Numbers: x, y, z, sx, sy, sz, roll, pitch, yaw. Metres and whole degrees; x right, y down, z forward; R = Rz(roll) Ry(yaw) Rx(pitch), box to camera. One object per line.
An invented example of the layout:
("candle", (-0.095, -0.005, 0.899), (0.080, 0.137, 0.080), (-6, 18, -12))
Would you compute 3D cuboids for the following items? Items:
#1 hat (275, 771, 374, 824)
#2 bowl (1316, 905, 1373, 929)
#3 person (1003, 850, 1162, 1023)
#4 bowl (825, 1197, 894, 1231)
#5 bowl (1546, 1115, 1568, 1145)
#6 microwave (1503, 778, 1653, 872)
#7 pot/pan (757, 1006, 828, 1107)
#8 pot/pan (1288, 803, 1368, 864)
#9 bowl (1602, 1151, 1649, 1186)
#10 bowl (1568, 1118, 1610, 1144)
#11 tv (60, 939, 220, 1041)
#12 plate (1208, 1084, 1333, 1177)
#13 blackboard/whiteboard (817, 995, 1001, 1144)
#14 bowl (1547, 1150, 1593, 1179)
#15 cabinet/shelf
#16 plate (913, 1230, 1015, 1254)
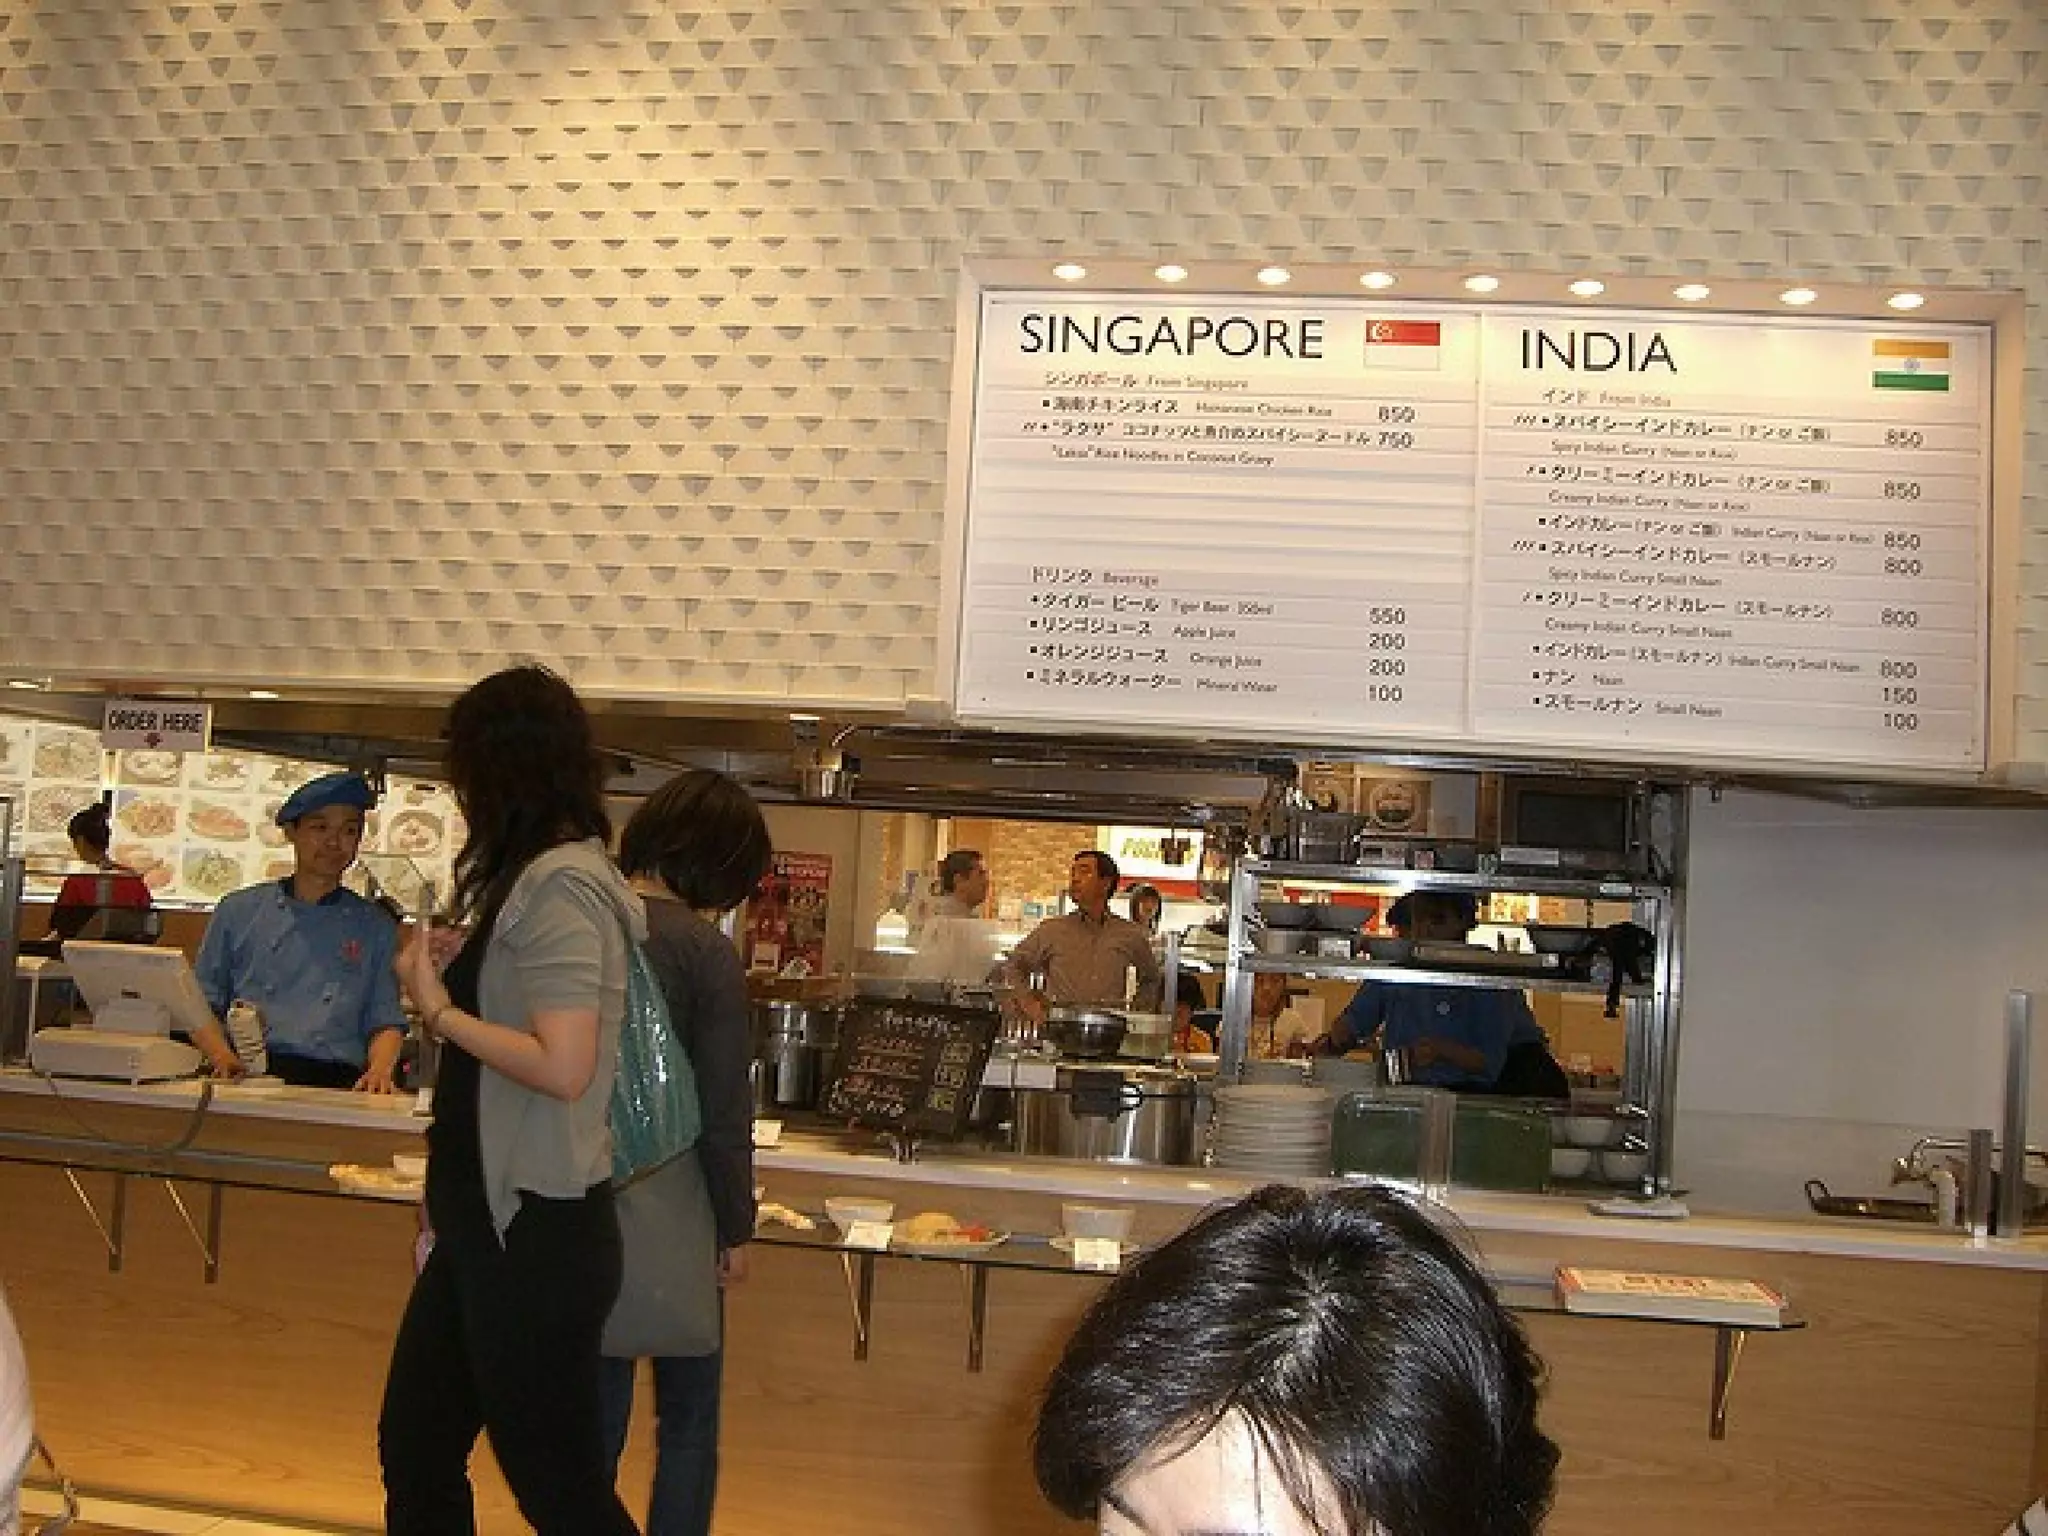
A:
("hat", (-1.885, 0.080, 4.899), (0.181, 0.053, 0.165), (-14, -4, 21))
("bowl", (0.944, 0.436, 5.394), (0.134, 0.077, 0.175), (3, -2, 22))
("person", (0.235, 0.664, 7.280), (0.600, 0.847, 0.354), (1, -13, -3))
("bowl", (-0.350, 0.937, 3.885), (0.121, 0.053, 0.147), (4, -2, -14))
("bowl", (1.366, 0.922, 4.685), (0.034, 0.092, 0.115), (3, -2, 24))
("microwave", (1.681, 0.149, 5.584), (0.509, 0.286, 0.260), (1, -10, 7))
("pot/pan", (-0.612, 0.764, 4.875), (0.267, 0.239, 0.247), (1, -7, 1))
("pot/pan", (0.890, 0.183, 5.350), (0.183, 0.116, 0.153), (5, -9, -9))
("bowl", (1.539, 1.025, 4.694), (0.098, 0.059, 0.092), (1, -16, 0))
("bowl", (1.445, 0.923, 4.701), (0.094, 0.060, 0.085), (-2, -6, 25))
("tv", (-2.292, 0.547, 4.725), (0.463, 0.277, 0.231), (1, 4, 17))
("plate", (0.610, 0.885, 4.521), (0.248, 0.161, 0.236), (2, -3, -41))
("blackboard/whiteboard", (-0.273, 0.744, 4.467), (0.467, 0.312, 0.047), (6, -27, 23))
("bowl", (1.413, 1.019, 4.742), (0.096, 0.054, 0.090), (0, -8, 0))
("cabinet/shelf", (1.270, 0.883, 5.432), (1.246, 0.958, 0.395), (2, -20, 11))
("plate", (-0.115, 0.970, 3.750), (0.218, 0.012, 0.115), (4, -2, -27))
